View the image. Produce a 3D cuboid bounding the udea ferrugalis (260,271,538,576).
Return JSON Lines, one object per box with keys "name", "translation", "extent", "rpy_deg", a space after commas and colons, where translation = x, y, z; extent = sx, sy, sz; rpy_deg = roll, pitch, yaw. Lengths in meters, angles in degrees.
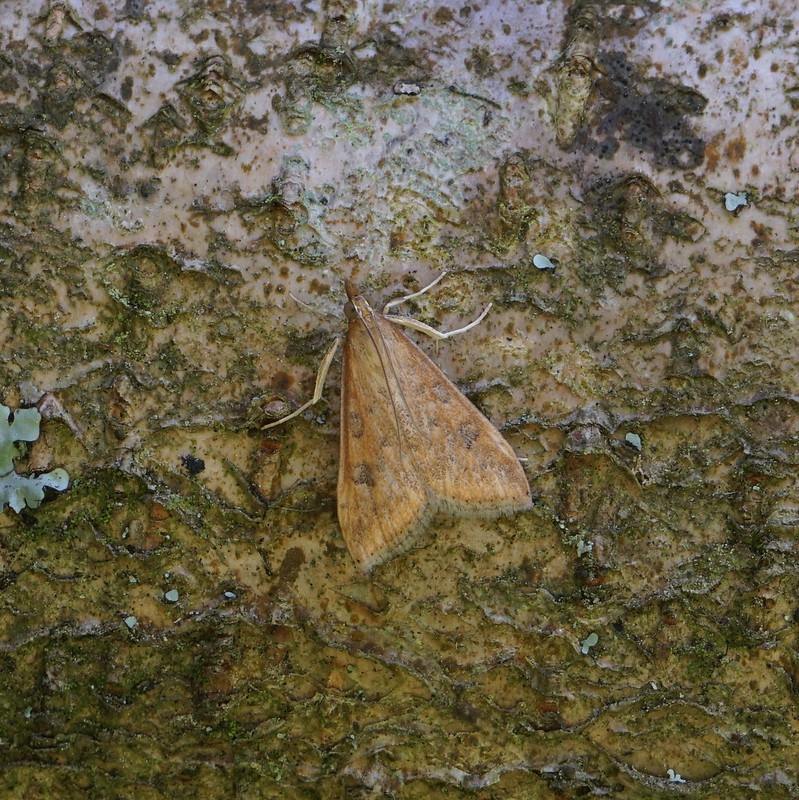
{"name": "udea ferrugalis", "translation": [0.032, 0.077, 4.793], "extent": [0.622, 0.458, 0.733], "rpy_deg": [-16, 63, -11]}
